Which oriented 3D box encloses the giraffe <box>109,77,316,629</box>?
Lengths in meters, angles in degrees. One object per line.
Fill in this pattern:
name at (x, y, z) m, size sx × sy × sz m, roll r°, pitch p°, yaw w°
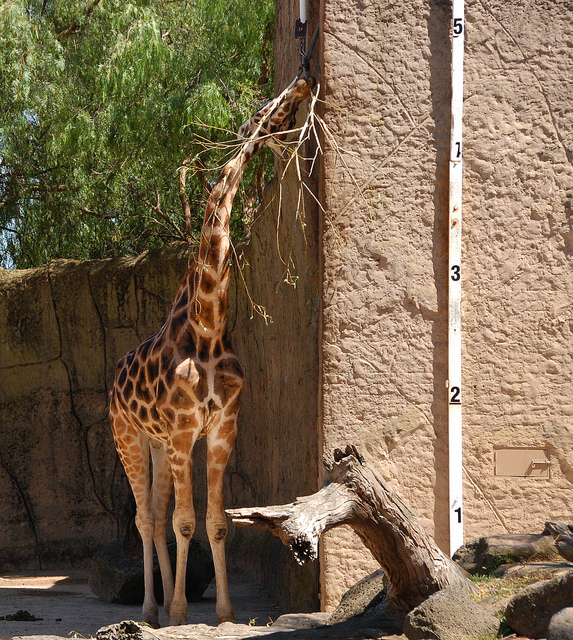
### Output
giraffe at (-0.584, 0.228, 9.600) m, size 0.852 × 3.329 × 1.334 m, roll -5°, pitch 7°, yaw -40°
